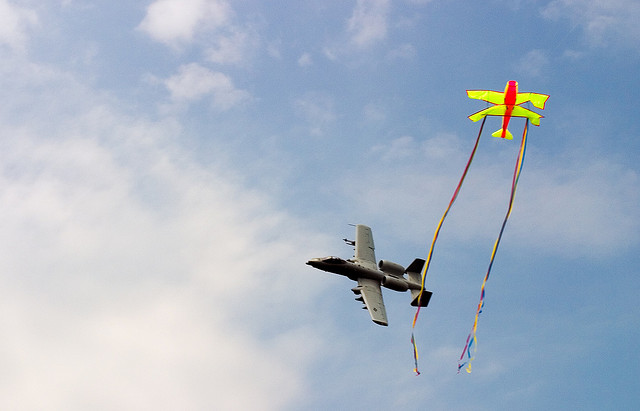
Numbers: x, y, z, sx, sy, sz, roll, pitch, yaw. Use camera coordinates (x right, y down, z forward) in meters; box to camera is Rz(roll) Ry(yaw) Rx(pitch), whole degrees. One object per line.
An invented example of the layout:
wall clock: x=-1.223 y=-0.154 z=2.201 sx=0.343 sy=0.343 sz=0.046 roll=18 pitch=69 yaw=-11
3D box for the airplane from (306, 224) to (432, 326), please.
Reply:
airplane: x=5.689 y=7.695 z=98.495 sx=15.205 sy=16.338 sz=3.606 roll=17 pitch=-57 yaw=-13
